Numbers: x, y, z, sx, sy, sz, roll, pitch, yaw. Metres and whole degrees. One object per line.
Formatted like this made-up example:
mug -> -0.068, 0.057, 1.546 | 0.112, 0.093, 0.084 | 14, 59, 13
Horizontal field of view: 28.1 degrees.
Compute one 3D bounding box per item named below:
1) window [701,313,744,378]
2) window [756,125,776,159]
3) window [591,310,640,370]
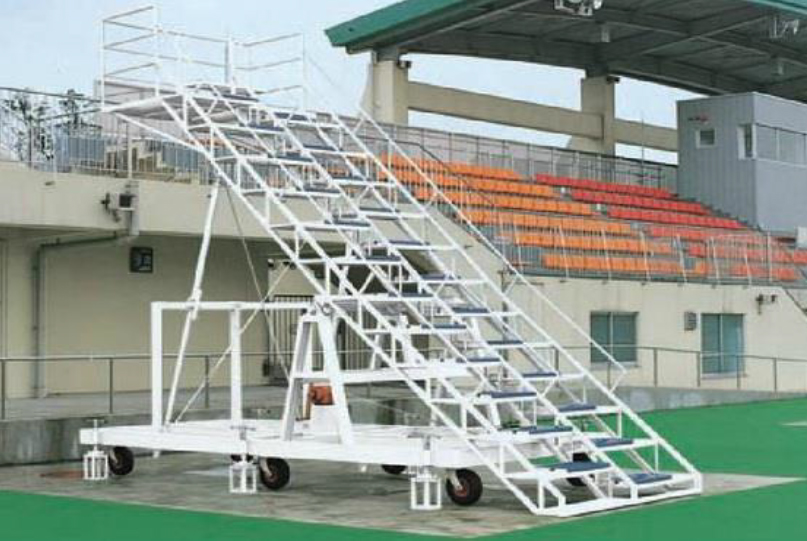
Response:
window -> 9.251, 2.189, 47.041 | 0.160, 1.837, 1.905 | 3, -5, -30
window -> 11.816, -4.154, 52.961 | 1.100, 1.495, 0.044 | -6, -4, -43
window -> 5.789, 1.988, 45.213 | 1.700, 1.597, 0.125 | 1, -2, -27
